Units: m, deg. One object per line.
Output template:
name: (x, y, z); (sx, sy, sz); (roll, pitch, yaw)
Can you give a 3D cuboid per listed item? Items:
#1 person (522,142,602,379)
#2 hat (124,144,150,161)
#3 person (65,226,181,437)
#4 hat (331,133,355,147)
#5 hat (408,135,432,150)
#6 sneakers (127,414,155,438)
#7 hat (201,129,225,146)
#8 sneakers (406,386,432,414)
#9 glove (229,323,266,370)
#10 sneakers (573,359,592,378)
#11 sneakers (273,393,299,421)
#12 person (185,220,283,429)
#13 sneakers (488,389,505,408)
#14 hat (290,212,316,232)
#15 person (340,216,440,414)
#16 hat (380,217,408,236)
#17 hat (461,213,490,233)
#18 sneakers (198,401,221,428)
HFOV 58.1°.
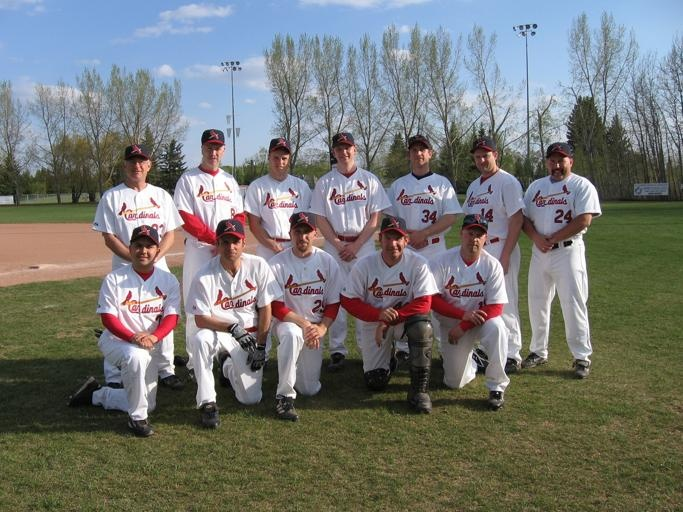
person: (2.793, 0.022, 7.914); (0.839, 2.850, 1.184); (-13, 18, -41)
hat: (-2.608, -1.318, 7.848); (0.273, 0.196, 0.312); (-5, 15, -17)
person: (-2.369, 0.761, 6.832); (1.023, 2.019, 1.251); (-1, 14, -2)
hat: (0.031, -1.561, 8.269); (0.292, 0.195, 0.452); (-1, 14, 1)
hat: (1.032, -1.506, 8.177); (0.293, 0.197, 0.429); (0, 14, 3)
sneakers: (-2.156, 1.812, 6.538); (0.382, 0.176, 0.136); (-2, -5, 43)
hat: (-1.647, -1.525, 7.962); (0.262, 0.197, 0.262); (-6, 15, -20)
sneakers: (0.875, 1.611, 6.934); (0.274, 0.232, 0.286); (1, 14, 7)
glove: (-1.068, 1.004, 7.054); (0.322, 0.565, 0.149); (-33, 10, -11)
sneakers: (2.962, 1.394, 7.614); (0.175, 0.188, 0.202); (4, 15, 19)
sneakers: (-0.632, 1.670, 6.861); (0.213, 0.197, 0.488); (-5, 15, -17)
person: (-1.296, 0.677, 7.020); (0.809, 2.064, 1.209); (10, 17, 39)
sneakers: (1.728, 1.617, 6.922); (0.163, 0.162, 0.177); (2, 14, 9)
hat: (-0.470, -0.423, 7.407); (0.181, 0.264, 0.254); (-3, -21, -9)
person: (0.650, 0.604, 7.277); (1.249, 2.104, 0.740); (12, 18, 42)
hat: (0.599, -0.342, 7.161); (0.291, 0.212, 0.246); (-2, 14, -3)
hat: (1.581, -0.397, 7.333); (0.287, 0.213, 0.292); (0, 14, 3)
sneakers: (-1.409, 1.703, 6.592); (0.188, 0.238, 0.184); (-6, 15, -20)
